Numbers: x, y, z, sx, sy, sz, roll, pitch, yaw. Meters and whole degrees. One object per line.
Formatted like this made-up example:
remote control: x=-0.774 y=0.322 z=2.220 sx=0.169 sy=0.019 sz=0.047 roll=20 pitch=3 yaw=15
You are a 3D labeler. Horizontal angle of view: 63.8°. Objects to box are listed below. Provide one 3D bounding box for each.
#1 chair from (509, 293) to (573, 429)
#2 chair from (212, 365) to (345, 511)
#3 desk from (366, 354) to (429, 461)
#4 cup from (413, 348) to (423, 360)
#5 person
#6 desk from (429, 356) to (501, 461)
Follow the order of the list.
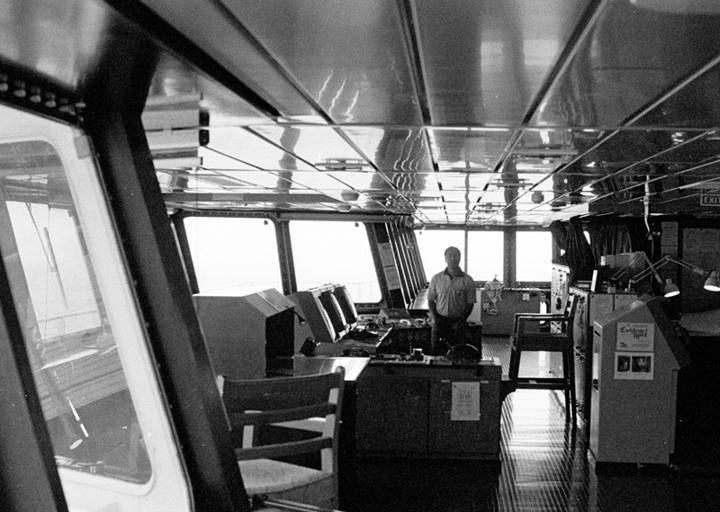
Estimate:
chair: x=2.240 y=1.220 z=7.216 sx=0.990 sy=1.366 sz=0.883 roll=1 pitch=-8 yaw=7
chair: x=-0.437 y=1.087 z=3.365 sx=0.697 sy=0.829 sz=0.994 roll=0 pitch=3 yaw=-21
desk: x=0.311 y=1.559 z=6.045 sx=0.901 sy=0.820 sz=0.838 roll=0 pitch=-7 yaw=6
cup: x=0.613 y=1.012 z=5.920 sx=0.103 sy=0.097 sz=0.123 roll=1 pitch=-10 yaw=-5
person: x=1.317 y=0.617 z=8.237 sx=0.654 sy=1.488 sz=0.633 roll=2 pitch=3 yaw=10
desk: x=1.076 y=1.656 z=5.883 sx=0.743 sy=0.937 sz=0.524 roll=-1 pitch=-38 yaw=11
